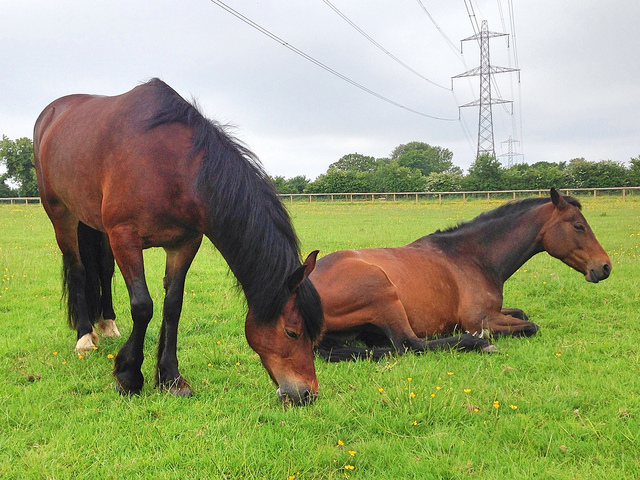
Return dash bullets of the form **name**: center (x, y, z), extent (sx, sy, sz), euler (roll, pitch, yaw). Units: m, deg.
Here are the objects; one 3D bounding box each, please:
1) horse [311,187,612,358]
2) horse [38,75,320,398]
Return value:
- **horse**: center (2.254, 0.529, 8.957), extent (5.017, 2.596, 1.720), euler (-5, 5, -15)
- **horse**: center (-1.672, -0.100, 7.053), extent (3.754, 3.248, 1.504), euler (10, 16, 42)
